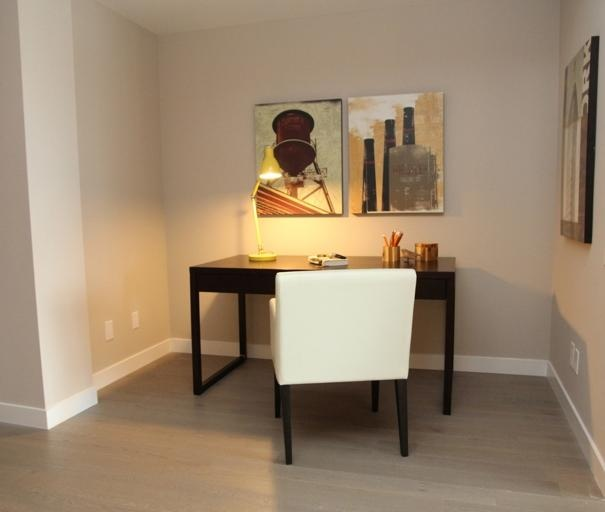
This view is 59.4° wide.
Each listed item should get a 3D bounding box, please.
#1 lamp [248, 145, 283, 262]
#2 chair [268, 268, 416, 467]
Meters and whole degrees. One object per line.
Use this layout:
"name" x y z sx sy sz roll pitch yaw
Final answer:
"lamp" -0.250 -0.351 3.581 0.233 0.762 0.579 -1 11 -2
"chair" 0.187 0.483 2.762 0.696 1.141 0.834 -1 5 -3
